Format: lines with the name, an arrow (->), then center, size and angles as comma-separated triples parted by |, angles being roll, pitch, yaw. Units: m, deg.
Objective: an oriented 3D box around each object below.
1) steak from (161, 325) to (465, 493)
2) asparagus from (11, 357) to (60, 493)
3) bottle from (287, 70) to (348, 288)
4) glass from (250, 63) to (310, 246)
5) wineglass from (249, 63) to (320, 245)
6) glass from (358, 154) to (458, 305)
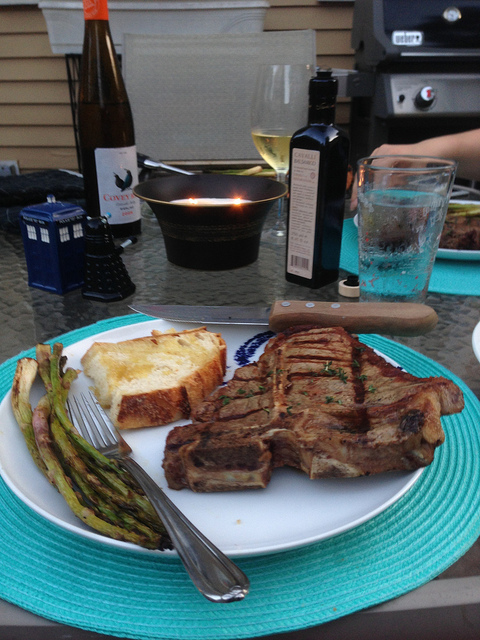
steak -> 0.099, 0.072, 0.706 | 0.327, 0.142, 0.274 | -3, 11, 14
asparagus -> -0.247, 0.094, 0.654 | 0.029, 0.046, 0.251 | -43, 44, 15
bottle -> 0.135, -0.244, 1.037 | 0.106, 0.359, 0.109 | 2, 17, -1
glass -> 0.086, -0.390, 1.397 | 0.168, 0.421, 0.150 | -15, 28, -31
wineglass -> 0.099, -0.368, 1.370 | 0.193, 0.435, 0.171 | -14, 28, -31
glass -> 0.246, -0.143, 0.934 | 0.184, 0.282, 0.127 | 2, 23, 7
